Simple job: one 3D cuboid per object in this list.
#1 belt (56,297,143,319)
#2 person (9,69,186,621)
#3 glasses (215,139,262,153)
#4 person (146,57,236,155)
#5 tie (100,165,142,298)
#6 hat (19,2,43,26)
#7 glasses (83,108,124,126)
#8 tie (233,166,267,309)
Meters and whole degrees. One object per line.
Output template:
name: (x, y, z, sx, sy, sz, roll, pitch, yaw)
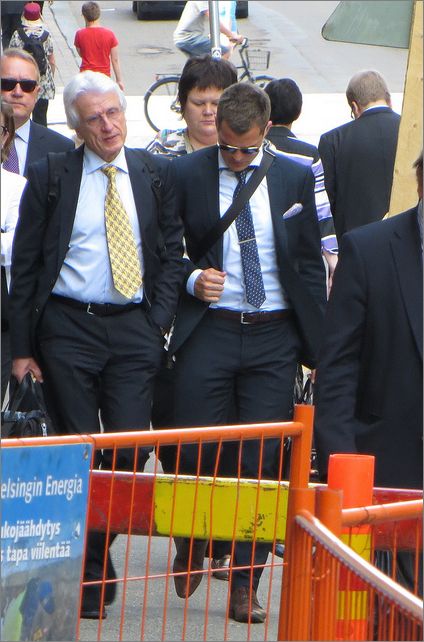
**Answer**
belt: (-0.470, -0.059, 3.683, 0.382, 0.082, 0.109, 0, 10, -15)
person: (-0.475, -0.129, 3.717, 0.737, 1.212, 0.418, 1, 10, -10)
glasses: (0.112, -0.723, 3.717, 0.167, 0.042, 0.089, 3, 10, 0)
person: (-0.071, -1.160, 4.898, 0.351, 0.465, 0.772, 0, 4, -22)
tie: (-0.399, -0.365, 3.643, 0.213, 0.543, 0.154, 12, 14, 43)
hat: (-2.556, -4.349, 12.512, 0.314, 0.280, 0.465, 1, 48, -4)
glasses: (-0.425, -0.846, 3.678, 0.091, 0.073, 0.207, 9, 12, 30)
tie: (0.137, -0.343, 3.794, 0.071, 0.683, 0.079, -14, -14, 10)
